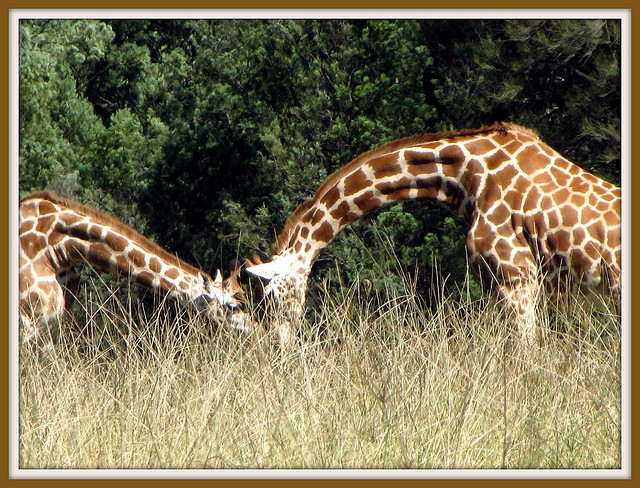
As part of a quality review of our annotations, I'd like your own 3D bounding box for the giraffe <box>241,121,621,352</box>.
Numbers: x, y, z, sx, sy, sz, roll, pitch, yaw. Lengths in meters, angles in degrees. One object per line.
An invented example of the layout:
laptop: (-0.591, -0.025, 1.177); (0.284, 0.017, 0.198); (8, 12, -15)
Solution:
giraffe: (1.351, -0.068, 9.256); (4.077, 2.675, 1.128); (-9, -22, 6)
